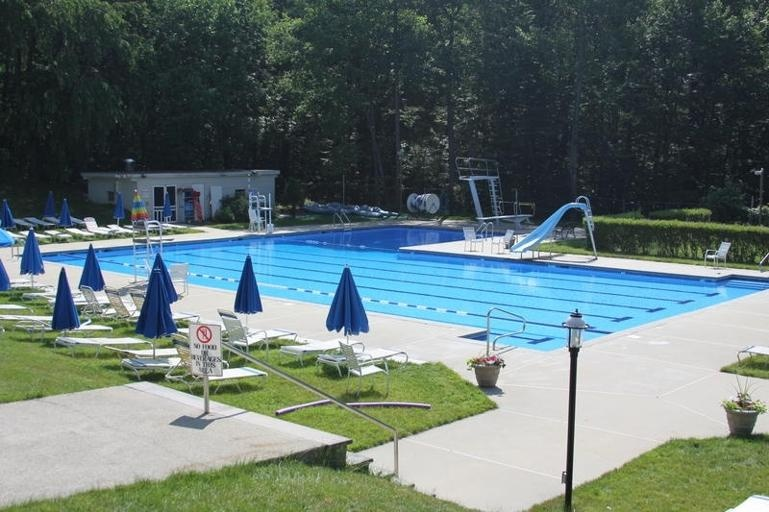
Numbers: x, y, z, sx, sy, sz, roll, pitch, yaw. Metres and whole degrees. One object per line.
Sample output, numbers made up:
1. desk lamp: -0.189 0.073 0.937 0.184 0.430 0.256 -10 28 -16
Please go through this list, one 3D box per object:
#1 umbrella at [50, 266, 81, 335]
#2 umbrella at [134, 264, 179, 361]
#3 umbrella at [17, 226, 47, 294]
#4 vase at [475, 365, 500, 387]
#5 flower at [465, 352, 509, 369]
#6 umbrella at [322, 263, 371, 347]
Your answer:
1. umbrella: -9.528 1.326 27.341 0.805 1.920 1.180 -1 3 -21
2. umbrella: -6.645 1.700 26.547 1.199 3.075 1.176 3 12 -15
3. umbrella: -12.304 0.264 31.950 0.722 2.132 0.776 2 14 -12
4. vase: 2.842 3.325 25.629 0.577 0.465 0.607 0 -2 6
5. flower: 2.842 2.994 25.819 0.989 0.351 0.756 0 2 0
6. umbrella: -1.168 1.368 26.830 1.371 2.133 1.223 2 6 11
